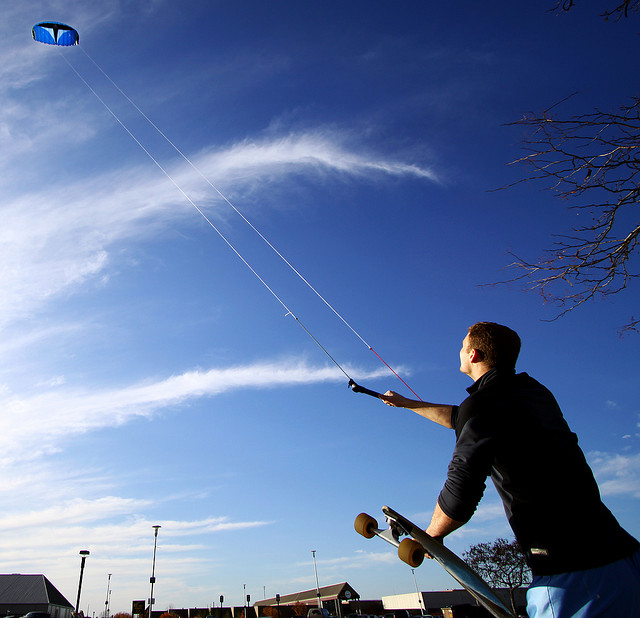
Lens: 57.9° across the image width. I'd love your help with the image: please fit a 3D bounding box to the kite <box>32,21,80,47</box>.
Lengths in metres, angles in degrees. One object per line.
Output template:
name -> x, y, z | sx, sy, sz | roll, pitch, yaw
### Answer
kite -> -4.216, -4.317, 9.208 | 0.628, 0.474, 0.354 | 6, -31, -20
